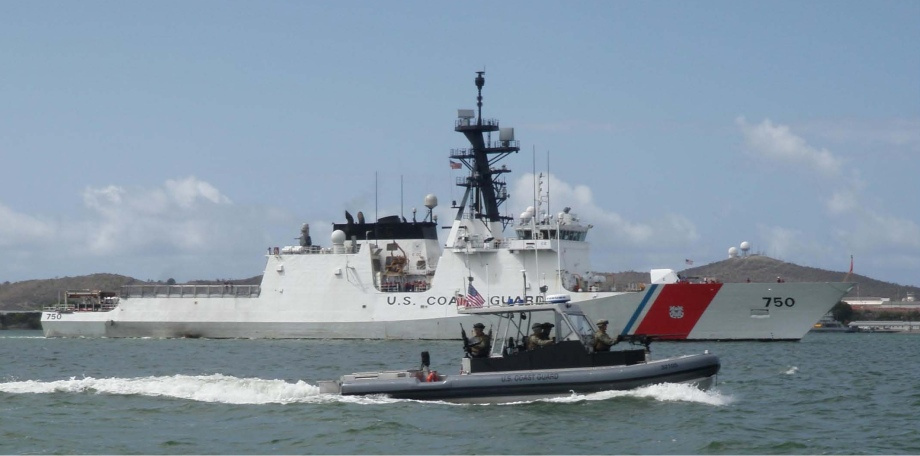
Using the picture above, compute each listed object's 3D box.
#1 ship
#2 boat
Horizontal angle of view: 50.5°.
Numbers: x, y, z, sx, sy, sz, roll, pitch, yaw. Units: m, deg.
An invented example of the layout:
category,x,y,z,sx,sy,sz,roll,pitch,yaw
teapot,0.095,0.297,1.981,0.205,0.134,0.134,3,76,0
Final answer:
category,x,y,z,sx,sy,sz,roll,pitch,yaw
ship,-2.921,1.267,72.027,54.969,14.100,10.115,-1,3,13
boat,4.120,6.553,49.783,21.542,5.271,6.329,-3,-3,3
